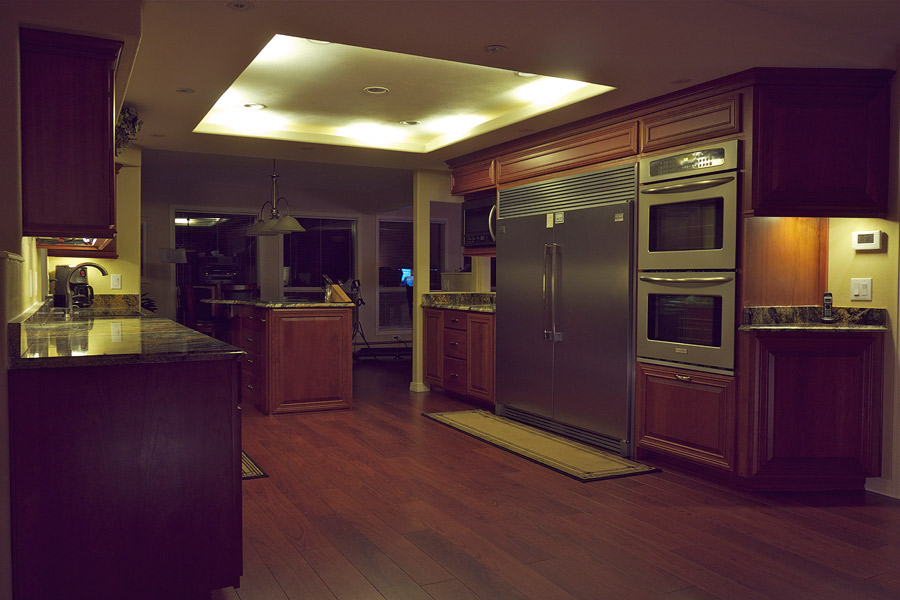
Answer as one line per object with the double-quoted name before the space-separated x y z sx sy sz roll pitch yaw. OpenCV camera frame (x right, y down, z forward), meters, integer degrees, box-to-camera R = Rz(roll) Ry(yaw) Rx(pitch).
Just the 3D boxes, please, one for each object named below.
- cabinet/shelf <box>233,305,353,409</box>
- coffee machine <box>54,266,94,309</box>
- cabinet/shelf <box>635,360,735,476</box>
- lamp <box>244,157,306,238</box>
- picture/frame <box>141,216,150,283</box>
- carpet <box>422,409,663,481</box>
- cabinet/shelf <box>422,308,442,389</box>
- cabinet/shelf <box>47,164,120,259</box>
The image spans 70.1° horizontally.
"cabinet/shelf" -1.845 0.593 6.963 0.916 1.038 1.649 1 -3 -35
"coffee machine" -3.350 -0.098 5.698 0.337 0.392 0.253 -3 4 -42
"cabinet/shelf" 1.705 0.784 4.706 0.614 0.818 0.915 4 -3 -34
"lamp" -2.596 -1.542 9.471 0.670 1.004 1.079 1 -3 -24
"picture/frame" -4.933 -0.797 10.411 0.116 0.949 0.199 -2 6 -24
"carpet" 0.693 1.172 5.241 0.682 0.045 1.907 -3 6 -36
"cabinet/shelf" -0.190 0.574 7.162 0.162 0.955 0.446 -1 6 -9
"cabinet/shelf" -3.087 -0.778 5.523 0.601 0.712 0.782 -2 -10 -18
